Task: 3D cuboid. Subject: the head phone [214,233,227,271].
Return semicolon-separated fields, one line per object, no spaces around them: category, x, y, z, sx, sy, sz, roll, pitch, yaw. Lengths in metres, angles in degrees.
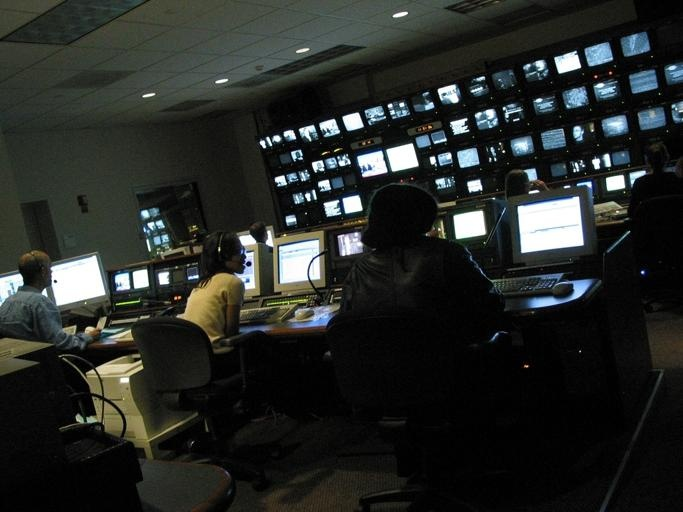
head phone;-0.733;-0.022;3.444;0.068;0.156;0.141;0;-1;-12

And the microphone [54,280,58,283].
microphone;-2.330;0.211;4.644;0.036;0.026;0.008;4;-1;2

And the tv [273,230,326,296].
tv;-0.283;0.063;3.960;0.520;0.400;0.278;-5;-7;31

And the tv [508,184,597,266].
tv;1.208;-0.155;3.267;0.528;0.397;0.279;-8;-8;33

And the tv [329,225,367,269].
tv;0.047;-0.051;3.706;0.345;0.269;0.181;-3;-7;25

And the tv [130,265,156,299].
tv;-1.664;0.231;4.816;0.297;0.239;0.141;-8;-15;23

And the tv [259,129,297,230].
tv;-0.925;-1.224;9.354;0.297;1.336;0.721;-14;6;-42

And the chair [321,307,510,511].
chair;0.352;0.679;2.378;0.621;1.005;0.494;-8;5;23

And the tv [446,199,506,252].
tv;0.833;-0.176;3.483;0.388;0.292;0.197;-4;-7;29

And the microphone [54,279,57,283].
microphone;-2.331;0.208;4.644;0.035;0.025;0.007;5;-3;4
